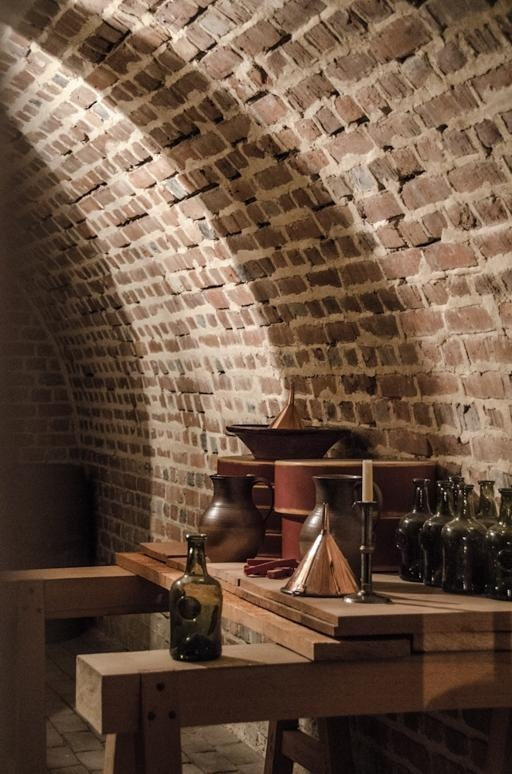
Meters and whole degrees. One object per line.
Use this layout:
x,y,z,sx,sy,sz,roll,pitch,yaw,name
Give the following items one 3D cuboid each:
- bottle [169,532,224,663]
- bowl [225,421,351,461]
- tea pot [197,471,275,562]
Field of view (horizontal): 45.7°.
-0.121,0.427,1.268,0.108,0.229,0.193,2,-6,-3,bottle
0.092,0.208,2.272,0.394,0.136,0.341,-2,-7,28,bowl
-0.069,0.420,1.928,0.277,0.300,0.237,6,-13,-20,tea pot
